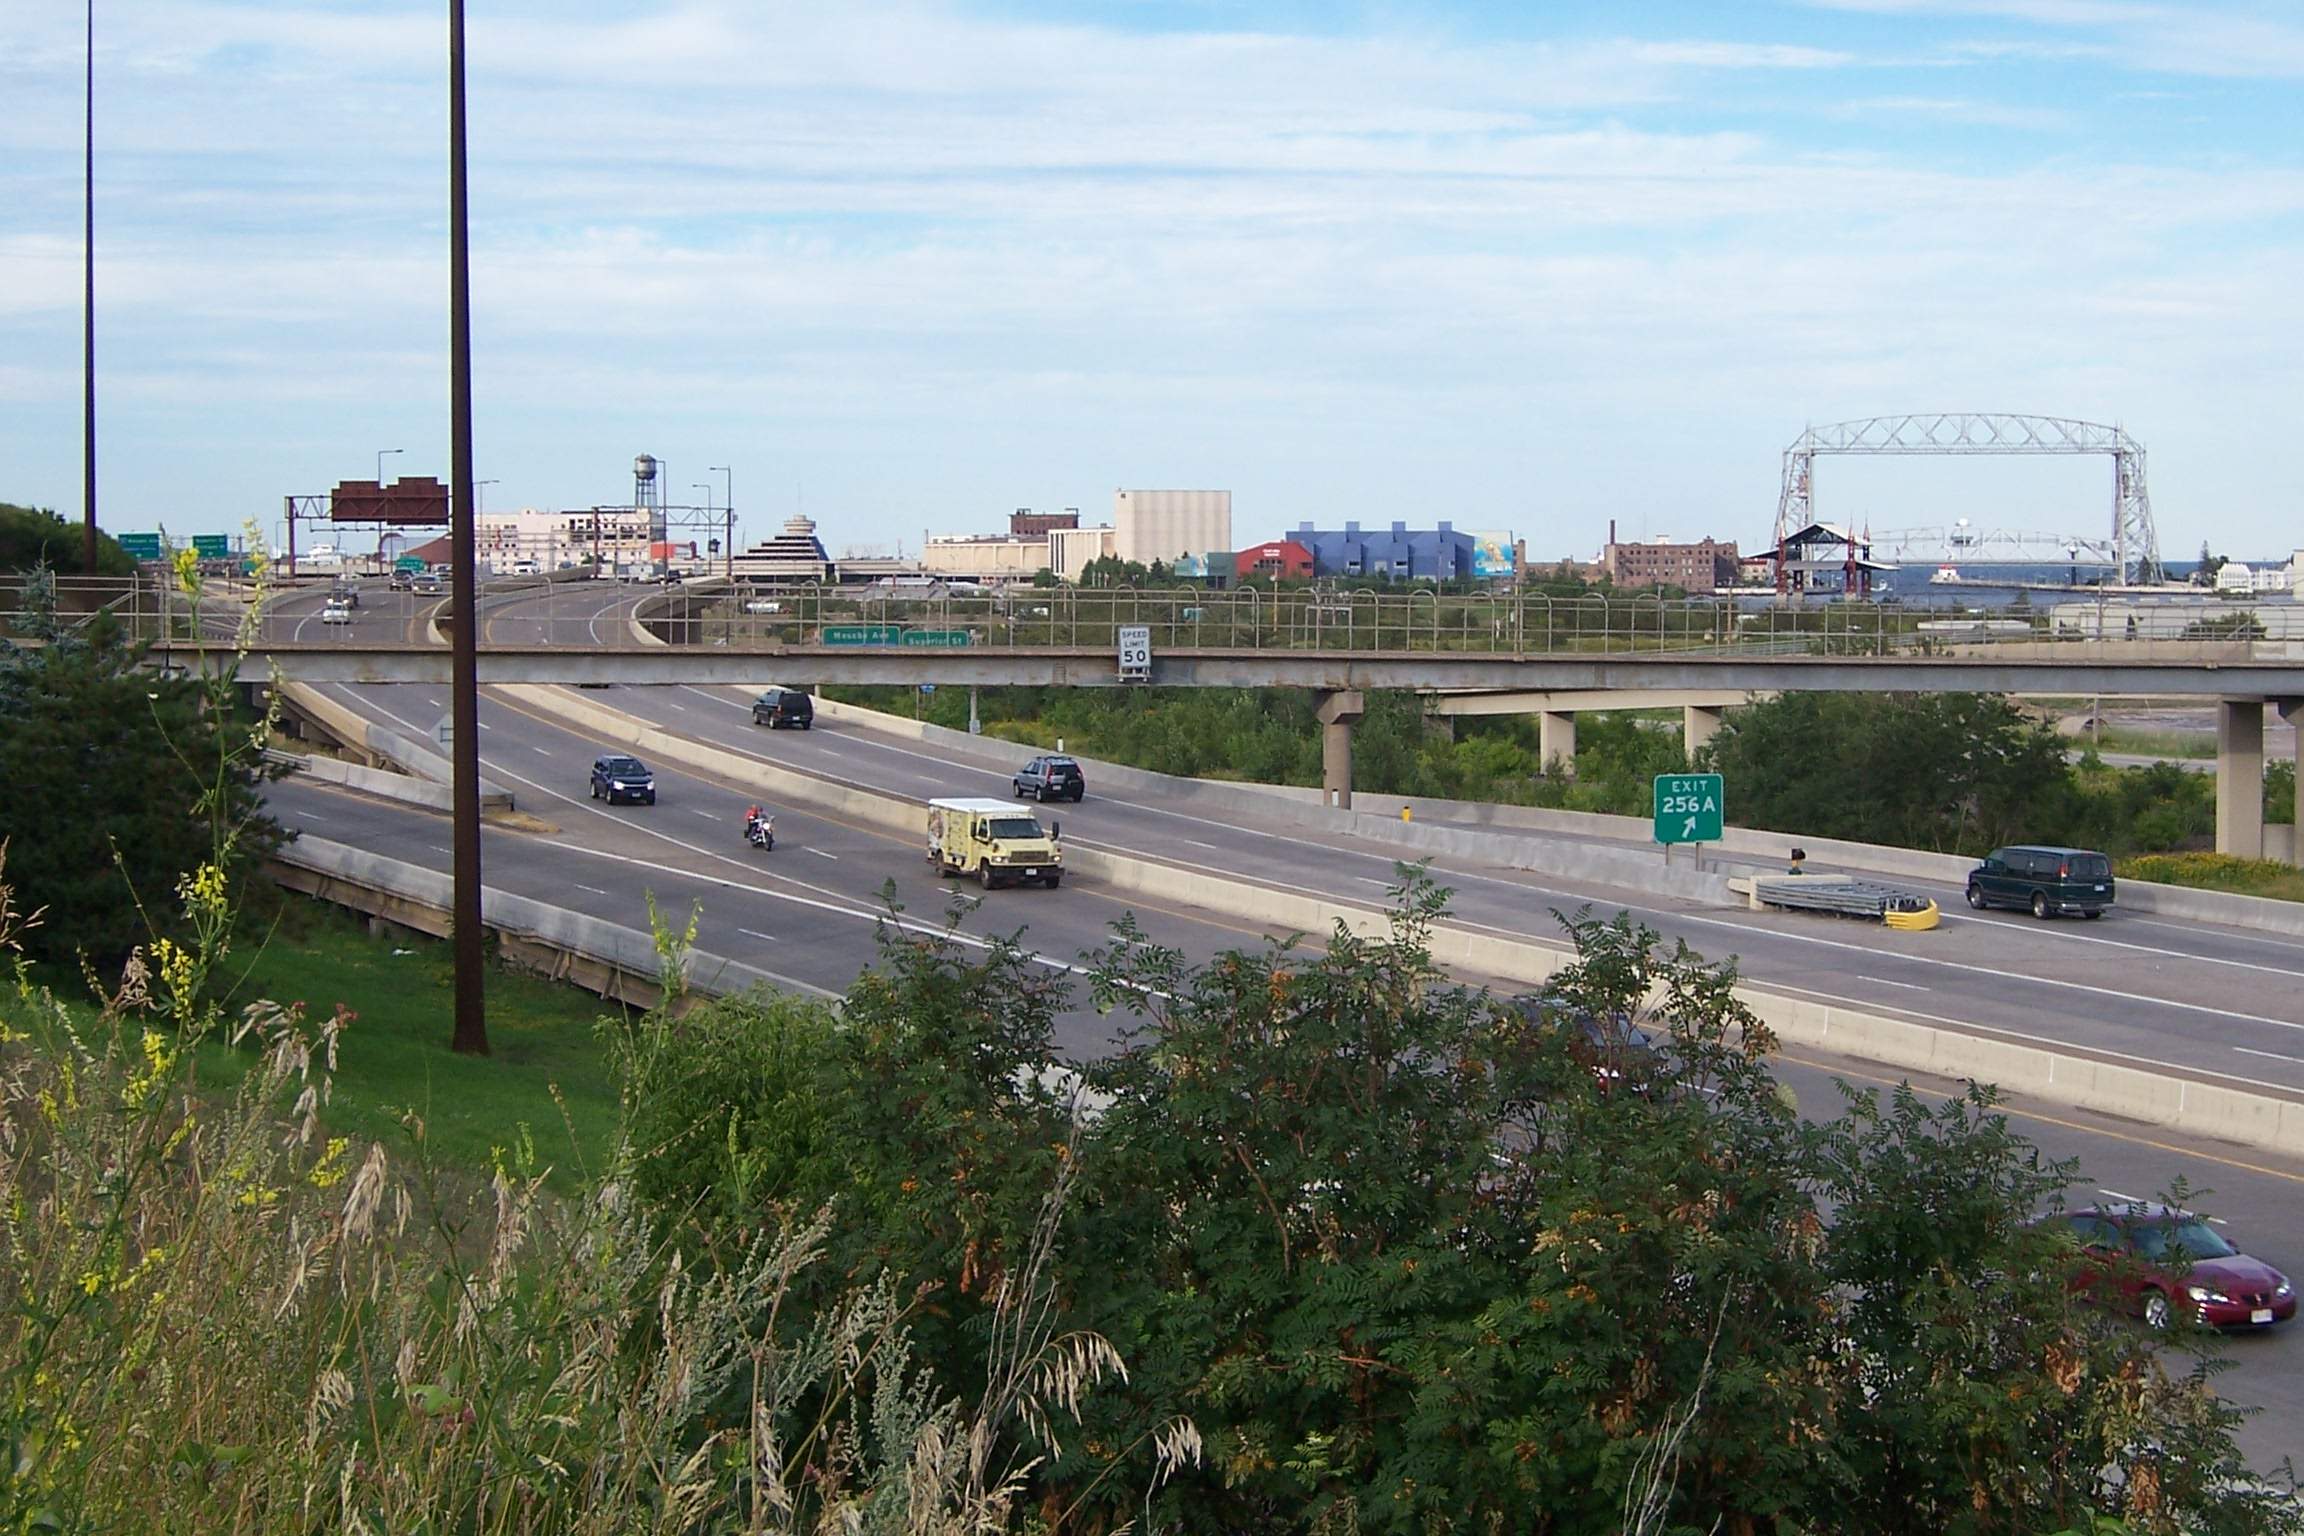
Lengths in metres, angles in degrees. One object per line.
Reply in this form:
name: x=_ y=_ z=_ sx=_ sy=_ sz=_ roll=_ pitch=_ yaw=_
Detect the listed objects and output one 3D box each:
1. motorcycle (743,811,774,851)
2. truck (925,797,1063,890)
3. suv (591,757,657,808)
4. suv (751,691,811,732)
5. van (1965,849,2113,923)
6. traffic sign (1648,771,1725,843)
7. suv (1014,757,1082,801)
motorcycle: x=-9.486 y=1.557 z=80.256 sx=0.513 sy=0.601 sz=1.072 roll=-2 pitch=6 yaw=-23
truck: x=-3.629 y=1.702 z=75.073 sx=1.579 sy=1.341 sz=3.102 roll=-1 pitch=3 yaw=-24
suv: x=-14.304 y=0.459 z=88.729 sx=0.917 sy=0.857 sz=2.154 roll=-1 pitch=1 yaw=-24
suv: x=-12.359 y=-1.910 z=110.331 sx=1.162 sy=0.946 sz=1.919 roll=-1 pitch=12 yaw=-22
van: x=19.741 y=2.547 z=73.464 sx=0.952 sy=1.511 sz=3.098 roll=0 pitch=3 yaw=-36
traffic sign: x=12.086 y=0.943 z=74.532 sx=1.727 sy=1.647 sz=0.227 roll=-4 pitch=11 yaw=-17
suv: x=-2.819 y=0.311 z=90.953 sx=1.766 sy=1.194 sz=1.598 roll=1 pitch=2 yaw=-11
